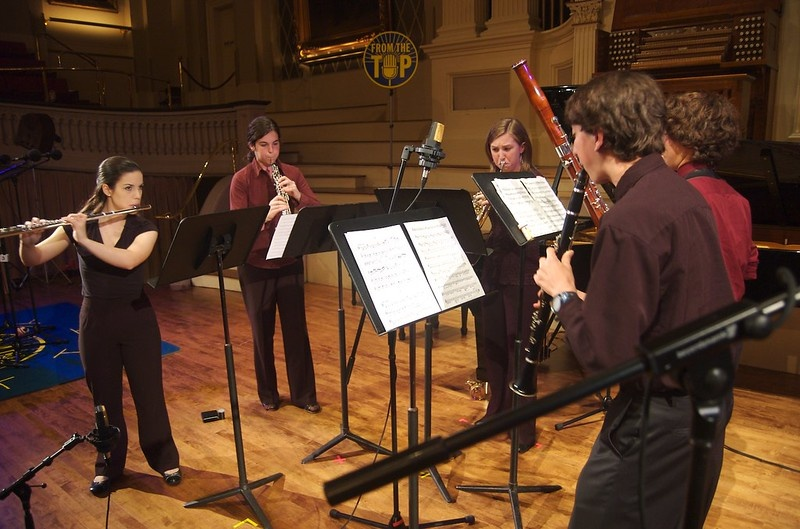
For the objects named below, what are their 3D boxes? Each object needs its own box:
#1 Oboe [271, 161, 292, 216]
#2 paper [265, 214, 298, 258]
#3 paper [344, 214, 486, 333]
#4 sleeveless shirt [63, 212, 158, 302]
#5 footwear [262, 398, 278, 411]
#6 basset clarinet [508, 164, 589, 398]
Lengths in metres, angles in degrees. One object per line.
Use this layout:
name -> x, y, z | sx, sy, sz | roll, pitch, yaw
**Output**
Oboe -> -0.962, -0.642, 5.111 | 0.106, 0.605, 0.101 | -9, 12, -6
paper -> -0.849, -0.207, 4.580 | 0.206, 0.344, 0.315 | -6, 17, -19
paper -> 0.050, 0.014, 3.651 | 0.760, 0.568, 0.464 | -12, 20, -37
sleeveless shirt -> -1.982, -0.048, 4.520 | 0.553, 0.539, 0.387 | -8, 18, -26
footwear -> -1.113, 1.185, 5.502 | 0.064, 0.065, 0.172 | -7, 11, -38
basset clarinet -> 0.820, 0.166, 3.564 | 0.292, 1.567, 0.321 | 14, 21, 14
